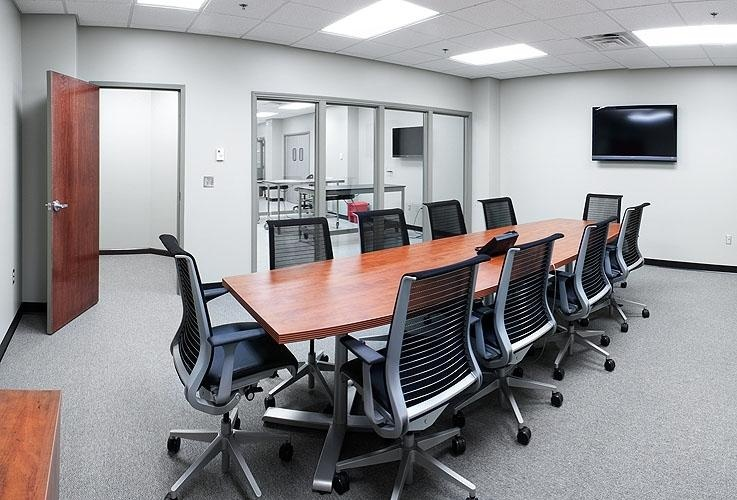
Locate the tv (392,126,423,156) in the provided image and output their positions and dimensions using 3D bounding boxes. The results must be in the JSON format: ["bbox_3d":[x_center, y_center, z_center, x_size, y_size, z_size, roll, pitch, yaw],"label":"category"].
[{"bbox_3d":[0.574,-1.697,7.688,0.496,0.357,0.053,-4,6,-39],"label":"tv"}]

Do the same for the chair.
[{"bbox_3d":[0.240,0.634,3.947,3.697,1.342,1.504,-10,13,-44],"label":"chair"}]

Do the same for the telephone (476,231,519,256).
[{"bbox_3d":[1.125,-0.051,4.356,0.300,0.227,0.313,-6,9,-27],"label":"telephone"}]
